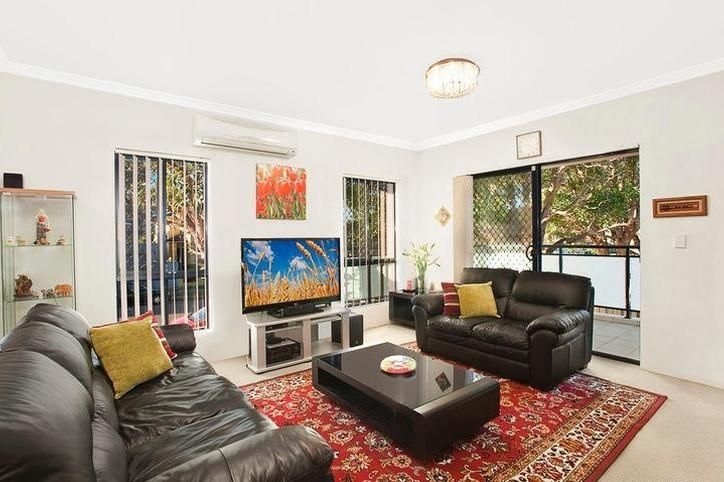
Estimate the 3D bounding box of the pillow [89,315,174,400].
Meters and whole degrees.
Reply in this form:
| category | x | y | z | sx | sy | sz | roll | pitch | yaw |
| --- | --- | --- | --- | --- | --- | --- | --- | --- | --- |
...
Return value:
| category | x | y | z | sx | sy | sz | roll | pitch | yaw |
| --- | --- | --- | --- | --- | --- | --- | --- | --- | --- |
| pillow | -2.333 | 1.153 | 4.288 | 0.198 | 0.647 | 0.660 | -34 | -7 | 40 |

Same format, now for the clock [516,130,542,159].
| category | x | y | z | sx | sy | sz | roll | pitch | yaw |
| --- | --- | --- | --- | --- | --- | --- | --- | --- | --- |
| clock | 2.442 | -1.392 | 6.388 | 0.049 | 0.462 | 0.456 | 0 | 0 | -34 |

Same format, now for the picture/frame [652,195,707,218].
| category | x | y | z | sx | sy | sz | roll | pitch | yaw |
| --- | --- | --- | --- | --- | --- | --- | --- | --- | --- |
| picture/frame | 3.790 | -0.403 | 5.252 | 0.535 | 0.253 | 0.044 | -1 | 3 | 33 |

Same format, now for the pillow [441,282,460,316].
| category | x | y | z | sx | sy | sz | roll | pitch | yaw |
| --- | --- | --- | --- | --- | --- | --- | --- | --- | --- |
| pillow | 1.223 | 0.805 | 6.070 | 0.113 | 0.347 | 0.361 | 11 | -11 | -38 |

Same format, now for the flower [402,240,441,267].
| category | x | y | z | sx | sy | sz | roll | pitch | yaw |
| --- | --- | --- | --- | --- | --- | --- | --- | --- | --- |
| flower | 1.057 | 0.234 | 7.805 | 0.656 | 0.442 | 0.260 | -1 | 2 | 13 |

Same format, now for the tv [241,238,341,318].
| category | x | y | z | sx | sy | sz | roll | pitch | yaw |
| --- | --- | --- | --- | --- | --- | --- | --- | --- | --- |
| tv | -1.022 | 0.508 | 5.952 | 1.115 | 0.701 | 0.051 | 1 | -3 | -35 |
